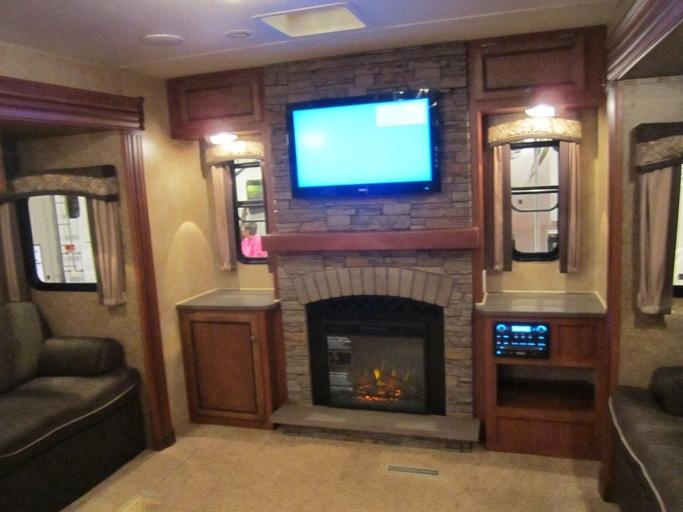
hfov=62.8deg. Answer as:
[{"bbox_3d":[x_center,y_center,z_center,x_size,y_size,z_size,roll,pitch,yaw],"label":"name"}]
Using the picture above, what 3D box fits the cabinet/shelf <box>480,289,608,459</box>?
[{"bbox_3d":[1.481,0.876,4.155,0.894,1.097,0.671,0,5,23],"label":"cabinet/shelf"}]
